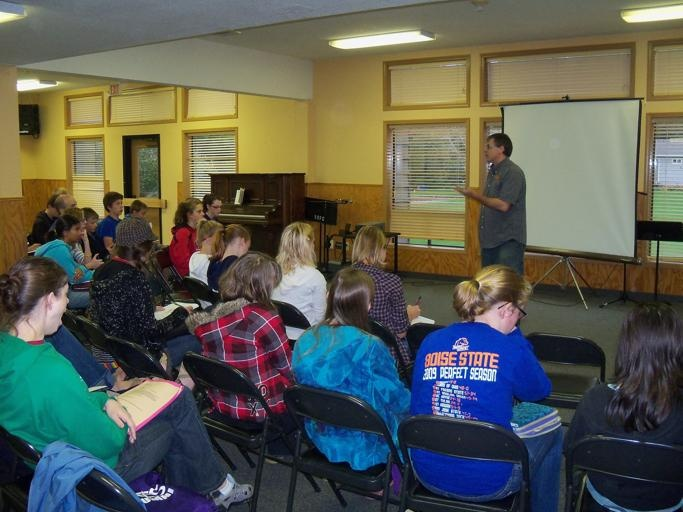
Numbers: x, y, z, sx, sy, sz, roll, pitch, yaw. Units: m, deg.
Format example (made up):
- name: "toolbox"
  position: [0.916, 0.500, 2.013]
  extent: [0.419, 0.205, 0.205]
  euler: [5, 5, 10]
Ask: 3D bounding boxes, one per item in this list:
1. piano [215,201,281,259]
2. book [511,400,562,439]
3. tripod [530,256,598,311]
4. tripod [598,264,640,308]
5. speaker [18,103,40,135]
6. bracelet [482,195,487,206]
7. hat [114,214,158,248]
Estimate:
- name: "piano"
  position: [-1.692, -0.400, 8.924]
  extent: [0.480, 0.955, 1.325]
  euler: [-10, -5, 39]
- name: "book"
  position: [0.794, 0.687, 2.221]
  extent: [0.149, 0.048, 0.151]
  euler: [4, 8, 43]
- name: "tripod"
  position: [3.133, 0.290, 7.399]
  extent: [0.682, 0.937, 0.680]
  euler: [21, 55, 43]
- name: "tripod"
  position: [3.730, 0.347, 6.939]
  extent: [0.469, 0.616, 0.502]
  euler: [3, 9, 28]
- name: "speaker"
  position: [-7.801, -3.482, 13.305]
  extent: [0.684, 0.723, 0.377]
  euler: [7, 8, 9]
- name: "bracelet"
  position: [1.328, -0.520, 4.910]
  extent: [0.018, 0.076, 0.072]
  euler: [14, -11, -40]
- name: "hat"
  position: [-1.310, -0.171, 3.404]
  extent: [0.166, 0.136, 0.229]
  euler: [4, 16, 14]
